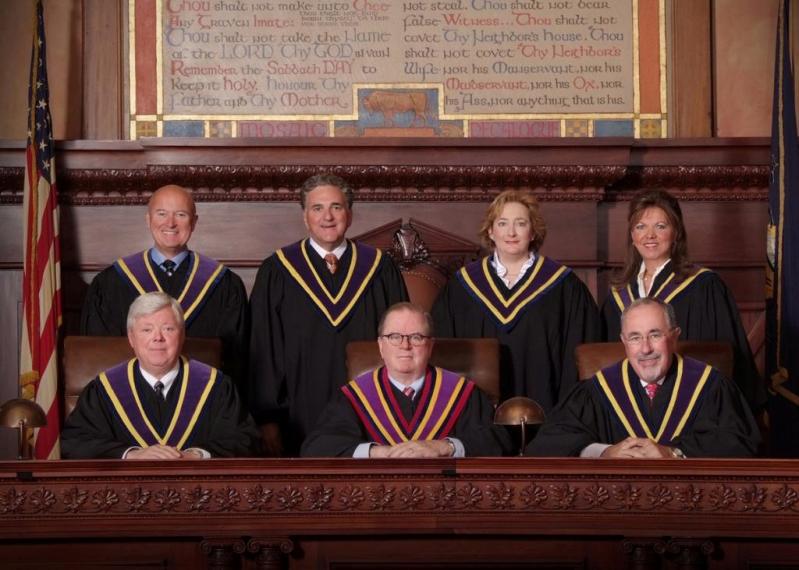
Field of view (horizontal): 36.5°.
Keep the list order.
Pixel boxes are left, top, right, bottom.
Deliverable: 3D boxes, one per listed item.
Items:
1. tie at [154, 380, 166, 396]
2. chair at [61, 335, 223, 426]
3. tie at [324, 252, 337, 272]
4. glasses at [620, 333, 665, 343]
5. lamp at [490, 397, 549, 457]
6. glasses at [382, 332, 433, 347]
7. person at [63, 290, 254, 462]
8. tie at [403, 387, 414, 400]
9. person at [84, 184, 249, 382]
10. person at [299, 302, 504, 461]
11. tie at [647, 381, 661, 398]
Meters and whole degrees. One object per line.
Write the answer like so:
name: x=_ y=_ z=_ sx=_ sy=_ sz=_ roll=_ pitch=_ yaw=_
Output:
tie: x=-1.257 y=0.536 z=6.332 sx=0.054 sy=0.069 sz=0.016 roll=-8 pitch=3 yaw=-8
chair: x=-1.487 y=0.394 z=6.572 sx=0.792 sy=0.532 sz=0.429 roll=0 pitch=-9 yaw=-6
tie: x=-0.414 y=-0.141 z=7.326 sx=0.063 sy=0.108 sz=0.026 roll=-16 pitch=-12 yaw=-7
glasses: x=1.253 y=0.266 z=6.244 sx=0.200 sy=0.064 sz=0.044 roll=-1 pitch=6 yaw=10
lamp: x=0.594 y=0.735 z=6.085 sx=0.325 sy=0.347 sz=0.350 roll=1 pitch=7 yaw=4
glasses: x=0.028 y=0.275 z=6.227 sx=0.232 sy=0.069 sz=0.051 roll=-2 pitch=6 yaw=0
person: x=-1.233 y=0.457 z=6.283 sx=0.873 sy=0.845 sz=0.680 roll=2 pitch=7 yaw=31
tie: x=0.047 y=0.561 z=6.340 sx=0.055 sy=0.052 sz=0.055 roll=-1 pitch=-7 yaw=13
person: x=-1.426 y=-0.005 z=7.280 sx=1.191 sy=1.574 sz=0.470 roll=1 pitch=-12 yaw=-10
person: x=0.028 y=0.498 z=6.198 sx=1.064 sy=0.797 sz=0.518 roll=-2 pitch=6 yaw=-3
tie: x=1.316 y=0.545 z=6.360 sx=0.057 sy=0.077 sz=0.020 roll=1 pitch=-2 yaw=27
